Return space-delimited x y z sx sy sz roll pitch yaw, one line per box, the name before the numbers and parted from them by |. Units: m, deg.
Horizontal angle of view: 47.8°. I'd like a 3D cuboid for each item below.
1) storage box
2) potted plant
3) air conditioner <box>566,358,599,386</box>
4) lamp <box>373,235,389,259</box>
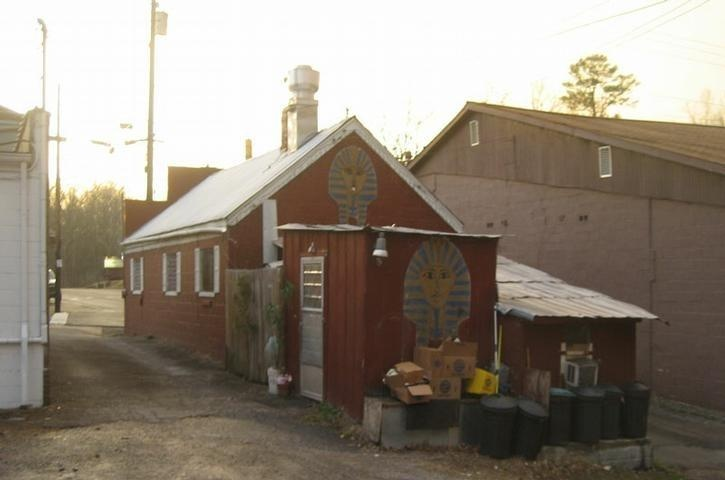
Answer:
storage box | 1.697 2.773 18.518 1.841 0.961 1.553 -1 1 -22
potted plant | -2.107 2.439 20.964 0.513 2.949 1.089 0 9 -24
air conditioner | 5.118 3.109 19.323 0.882 0.686 0.524 2 -5 -22
lamp | 0.389 0.132 18.345 0.357 0.588 0.433 4 8 1
